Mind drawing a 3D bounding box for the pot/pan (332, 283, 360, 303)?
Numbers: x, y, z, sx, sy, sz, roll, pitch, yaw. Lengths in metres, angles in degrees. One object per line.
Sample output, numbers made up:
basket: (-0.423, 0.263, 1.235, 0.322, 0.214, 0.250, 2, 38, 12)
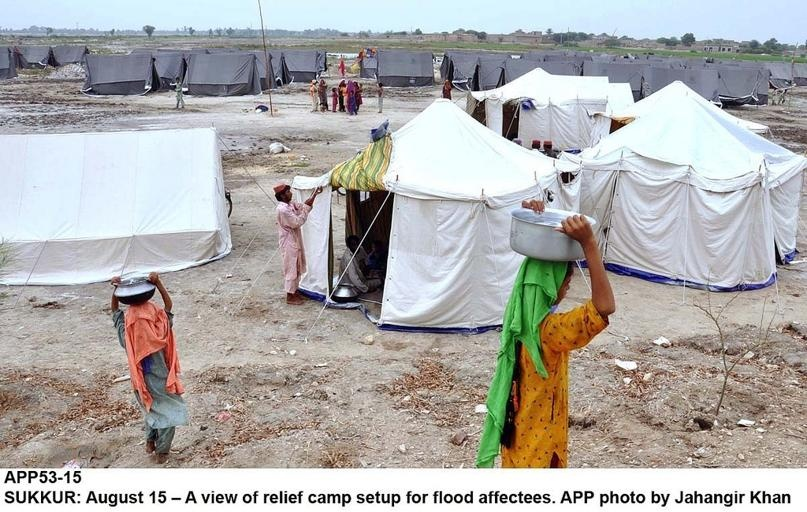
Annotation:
pot/pan: (-1.057, 0.659, 12.145, 0.390, 0.134, 0.338, 3, 21, 12)

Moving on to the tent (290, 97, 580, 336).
tent: (0.490, -0.266, 12.004, 4.712, 2.621, 4.402, -4, 24, -7)

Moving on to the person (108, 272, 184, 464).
person: (-3.144, 1.408, 8.256, 0.797, 2.352, 1.101, -2, -8, 9)

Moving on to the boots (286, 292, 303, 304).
boots: (-2.002, 0.739, 12.253, 0.346, 0.296, 0.157, -5, 24, -10)

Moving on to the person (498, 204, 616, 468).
person: (1.495, 0.896, 6.640, 0.628, 2.472, 1.139, 2, -8, -18)

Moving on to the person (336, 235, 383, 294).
person: (-0.866, 0.114, 12.886, 0.844, 1.011, 0.776, 2, 16, -15)

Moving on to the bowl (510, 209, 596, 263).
bowl: (1.405, -0.237, 6.557, 0.720, 0.587, 0.456, -2, -8, 9)

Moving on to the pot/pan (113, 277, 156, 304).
pot/pan: (-3.197, 0.397, 7.955, 0.392, 0.200, 0.376, -8, 15, -33)
